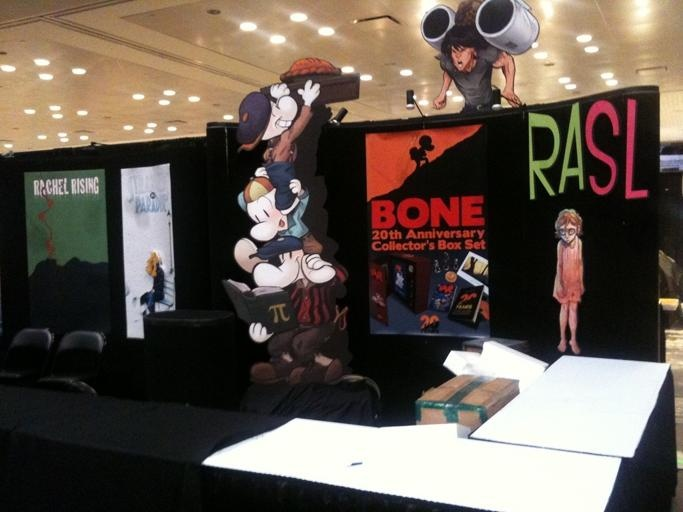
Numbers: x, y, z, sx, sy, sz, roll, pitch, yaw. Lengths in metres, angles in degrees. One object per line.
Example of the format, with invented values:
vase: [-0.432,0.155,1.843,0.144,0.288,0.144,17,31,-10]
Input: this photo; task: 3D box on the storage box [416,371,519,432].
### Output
storage box: [0.397,0.478,1.831,0.240,0.069,0.248,-8,6,35]
